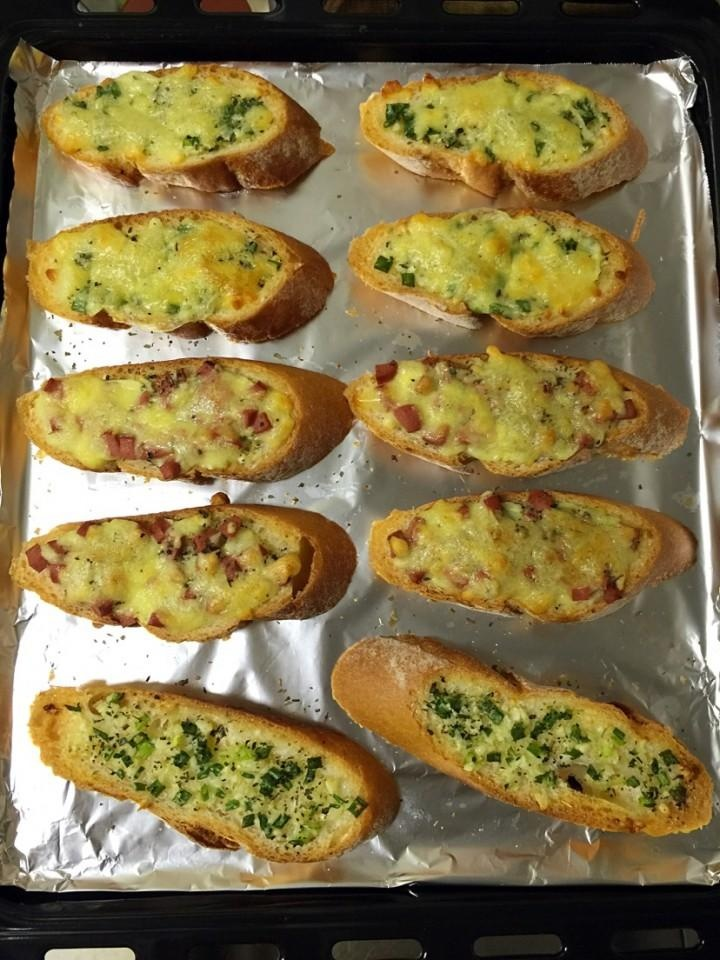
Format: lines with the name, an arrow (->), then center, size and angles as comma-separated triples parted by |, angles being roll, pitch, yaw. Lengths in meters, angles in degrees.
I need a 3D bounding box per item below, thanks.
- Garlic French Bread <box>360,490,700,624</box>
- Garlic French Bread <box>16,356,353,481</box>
Garlic French Bread -> 0.576, 0.266, 3.691 | 1.187, 0.245, 0.419 | -1, 74, -11
Garlic French Bread -> -0.588, -0.218, 3.761 | 1.313, 0.427, 0.333 | -1, -4, -1
